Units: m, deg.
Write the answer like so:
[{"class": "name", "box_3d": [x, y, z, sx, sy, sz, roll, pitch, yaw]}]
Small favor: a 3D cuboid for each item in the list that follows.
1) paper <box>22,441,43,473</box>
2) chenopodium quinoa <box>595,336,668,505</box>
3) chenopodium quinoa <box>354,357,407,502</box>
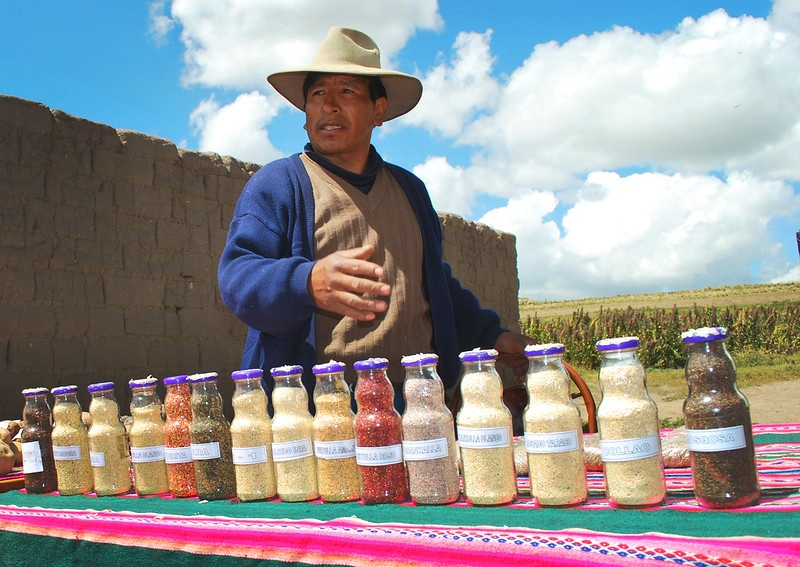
[{"class": "paper", "box_3d": [-1.463, 0.690, 3.217, 0.119, 0.170, 0.018, 3, 9, 18]}, {"class": "chenopodium quinoa", "box_3d": [0.683, 0.425, 2.512, 0.196, 0.519, 0.204, -12, -14, 31]}, {"class": "chenopodium quinoa", "box_3d": [-0.069, 0.471, 2.675, 0.168, 0.475, 0.199, 1, -4, -3]}]
